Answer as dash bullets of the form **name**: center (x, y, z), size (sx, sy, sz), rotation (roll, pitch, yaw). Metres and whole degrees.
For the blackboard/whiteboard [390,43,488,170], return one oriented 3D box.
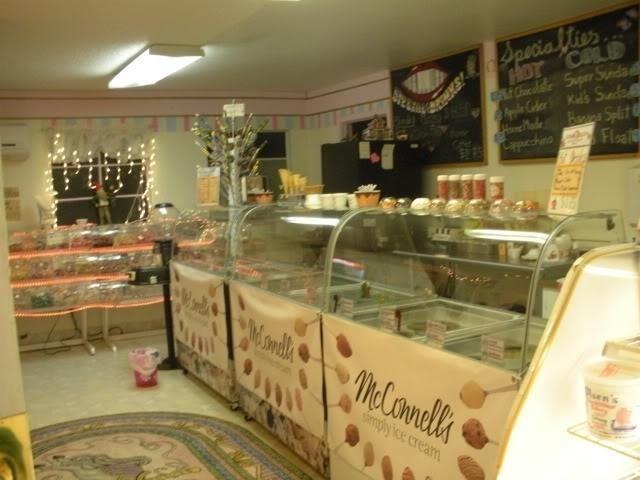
- **blackboard/whiteboard**: center (1.396, -1.525, 5.428), size (0.056, 1.295, 1.331), rotation (-10, 12, -40)

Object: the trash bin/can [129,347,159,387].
- **trash bin/can**: center (-1.535, 1.126, 4.166), size (0.259, 0.280, 0.257), rotation (3, 3, 27)
